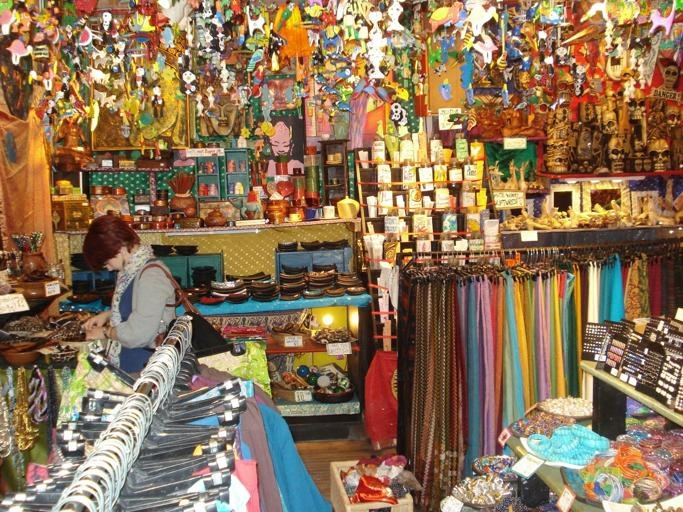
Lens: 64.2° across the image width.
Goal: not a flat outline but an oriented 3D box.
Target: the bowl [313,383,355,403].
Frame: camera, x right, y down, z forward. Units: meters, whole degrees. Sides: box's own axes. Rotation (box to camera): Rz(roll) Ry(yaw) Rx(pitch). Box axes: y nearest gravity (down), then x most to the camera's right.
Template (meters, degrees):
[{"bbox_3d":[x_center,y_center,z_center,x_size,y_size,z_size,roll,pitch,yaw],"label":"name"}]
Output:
[{"bbox_3d":[-0.082,1.342,5.275,0.389,0.125,0.217,-3,6,3],"label":"bowl"}]

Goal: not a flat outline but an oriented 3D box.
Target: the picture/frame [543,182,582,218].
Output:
[{"bbox_3d":[2.646,-0.688,6.583,0.562,0.652,0.064,0,4,-10],"label":"picture/frame"}]

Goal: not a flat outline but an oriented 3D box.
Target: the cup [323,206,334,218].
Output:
[{"bbox_3d":[-0.132,-0.450,5.573,0.117,0.112,0.113,0,5,0],"label":"cup"}]

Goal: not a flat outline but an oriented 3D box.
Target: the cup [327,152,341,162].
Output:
[{"bbox_3d":[-0.088,-1.092,6.019,0.136,0.088,0.083,1,4,1],"label":"cup"}]

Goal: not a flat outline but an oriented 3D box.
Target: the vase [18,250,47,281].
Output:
[{"bbox_3d":[-2.223,0.073,3.968,0.197,0.252,0.214,-3,-8,8],"label":"vase"}]

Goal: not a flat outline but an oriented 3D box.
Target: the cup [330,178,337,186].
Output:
[{"bbox_3d":[-0.092,-0.838,6.135,0.080,0.049,0.081,0,-1,0],"label":"cup"}]

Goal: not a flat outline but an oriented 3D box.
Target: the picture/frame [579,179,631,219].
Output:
[{"bbox_3d":[3.083,-0.692,6.448,0.639,0.601,0.091,0,0,-7],"label":"picture/frame"}]

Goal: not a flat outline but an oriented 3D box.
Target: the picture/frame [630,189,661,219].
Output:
[{"bbox_3d":[3.730,-0.645,6.700,0.342,0.316,1.132,0,7,30],"label":"picture/frame"}]

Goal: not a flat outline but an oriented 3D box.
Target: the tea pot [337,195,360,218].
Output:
[{"bbox_3d":[0.059,-0.487,5.582,0.217,0.190,0.176,2,2,24],"label":"tea pot"}]

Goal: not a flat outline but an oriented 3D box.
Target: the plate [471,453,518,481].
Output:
[{"bbox_3d":[0.755,1.041,2.695,0.185,0.067,0.144,-3,1,-37],"label":"plate"}]

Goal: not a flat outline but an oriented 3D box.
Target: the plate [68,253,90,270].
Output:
[{"bbox_3d":[-2.412,0.046,4.993,0.164,0.108,0.165,0,2,-44],"label":"plate"}]

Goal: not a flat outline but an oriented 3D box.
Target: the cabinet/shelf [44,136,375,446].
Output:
[{"bbox_3d":[-1.079,1.135,5.648,2.792,2.623,1.795,-1,12,-3],"label":"cabinet/shelf"}]

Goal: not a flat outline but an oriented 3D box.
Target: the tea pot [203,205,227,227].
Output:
[{"bbox_3d":[-1.305,-0.413,5.609,0.207,0.199,0.208,0,0,0],"label":"tea pot"}]
